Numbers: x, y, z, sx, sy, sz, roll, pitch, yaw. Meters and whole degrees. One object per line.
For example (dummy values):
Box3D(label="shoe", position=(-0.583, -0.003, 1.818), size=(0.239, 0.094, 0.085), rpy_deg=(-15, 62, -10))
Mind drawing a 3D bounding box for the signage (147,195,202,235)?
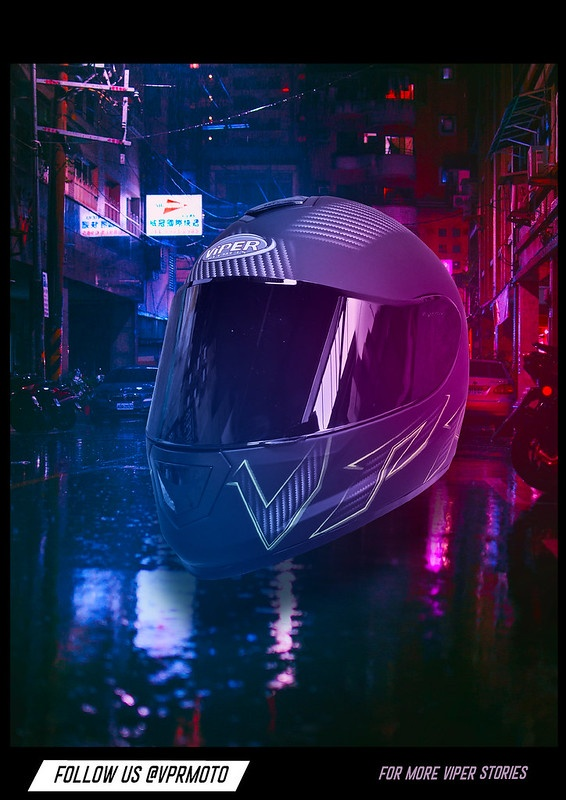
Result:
Box3D(label="signage", position=(-3.662, -6.216, 28.490), size=(1.303, 1.190, 0.214), rpy_deg=(0, -26, 15))
